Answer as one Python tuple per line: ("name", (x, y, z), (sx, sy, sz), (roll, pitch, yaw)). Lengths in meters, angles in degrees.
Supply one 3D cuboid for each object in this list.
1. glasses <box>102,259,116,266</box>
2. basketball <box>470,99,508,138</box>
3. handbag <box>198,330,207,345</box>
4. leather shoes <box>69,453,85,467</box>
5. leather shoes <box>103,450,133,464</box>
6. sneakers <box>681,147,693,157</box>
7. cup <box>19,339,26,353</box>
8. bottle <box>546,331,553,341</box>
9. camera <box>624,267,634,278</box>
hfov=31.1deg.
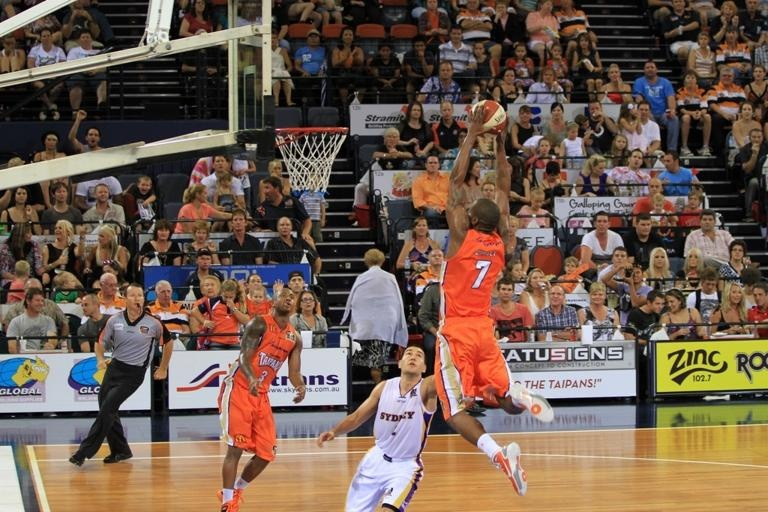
("glasses", (-4.920, 0.114, 24.744), (0.301, 0.068, 0.148), (2, 6, 43))
("basketball", (1.474, -1.994, 19.795), (0.451, 0.489, 0.475), (3, -1, -15))
("handbag", (-3.173, 1.493, 24.191), (0.152, 0.284, 0.365), (-3, 5, -8))
("leather shoes", (-4.849, 3.262, 21.860), (0.224, 0.253, 0.305), (-3, 5, -13))
("leather shoes", (-4.245, 3.269, 22.115), (0.467, 0.195, 0.180), (2, -4, -13))
("sneakers", (6.497, -2.242, 29.573), (0.147, 0.197, 0.285), (-10, 13, -35))
("cup", (-6.260, 1.561, 23.969), (0.091, 0.211, 0.103), (-1, 5, 12))
("bottle", (2.964, 1.468, 24.689), (0.120, 0.186, 0.128), (-1, 0, 0))
("camera", (4.504, 0.311, 25.345), (0.097, 0.191, 0.122), (-3, -2, 11))
